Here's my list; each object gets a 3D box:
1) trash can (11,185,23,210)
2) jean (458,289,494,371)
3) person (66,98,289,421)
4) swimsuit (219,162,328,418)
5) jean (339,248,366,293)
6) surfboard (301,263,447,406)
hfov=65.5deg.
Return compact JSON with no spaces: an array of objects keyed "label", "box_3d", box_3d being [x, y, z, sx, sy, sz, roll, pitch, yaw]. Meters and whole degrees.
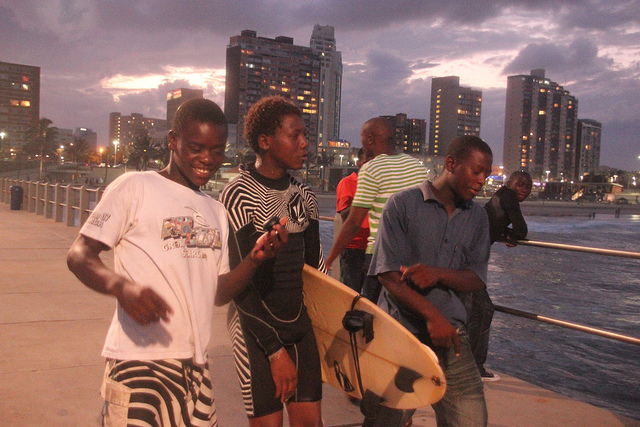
[{"label":"trash can","box_3d":[-12.985,-0.638,21.261,0.490,1.008,0.398,-2,9,-17]},{"label":"jean","box_3d":[1.510,1.111,4.737,0.218,0.906,0.246,-5,0,8]},{"label":"person","box_3d":[-0.972,0.311,3.157,1.124,2.082,0.631,-4,10,-30]},{"label":"swimsuit","box_3d":[-0.345,0.583,3.839,0.687,2.020,0.815,-1,0,-16]},{"label":"jean","box_3d":[0.368,0.615,5.354,0.155,0.483,0.426,-6,11,-37]},{"label":"surfboard","box_3d":[0.237,0.825,3.846,1.665,0.564,0.231,36,25,33]}]
